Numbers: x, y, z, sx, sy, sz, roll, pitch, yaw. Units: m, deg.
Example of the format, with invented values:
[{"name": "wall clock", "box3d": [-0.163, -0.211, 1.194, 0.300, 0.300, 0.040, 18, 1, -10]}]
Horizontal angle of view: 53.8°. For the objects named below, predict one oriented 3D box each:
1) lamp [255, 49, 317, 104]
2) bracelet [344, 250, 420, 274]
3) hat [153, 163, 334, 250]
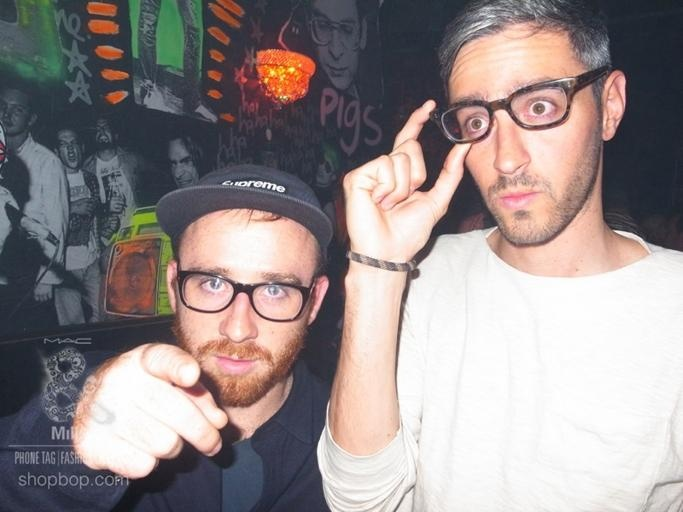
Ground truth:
[{"name": "lamp", "box3d": [-0.505, -1.573, 6.040, 0.541, 0.402, 0.527, 6, 1, -36]}, {"name": "bracelet", "box3d": [0.237, 0.033, 3.665, 0.393, 0.145, 0.133, -4, 8, -19]}, {"name": "hat", "box3d": [-0.570, -0.348, 3.987, 0.710, 0.364, 0.580, 22, -17, -1]}]
